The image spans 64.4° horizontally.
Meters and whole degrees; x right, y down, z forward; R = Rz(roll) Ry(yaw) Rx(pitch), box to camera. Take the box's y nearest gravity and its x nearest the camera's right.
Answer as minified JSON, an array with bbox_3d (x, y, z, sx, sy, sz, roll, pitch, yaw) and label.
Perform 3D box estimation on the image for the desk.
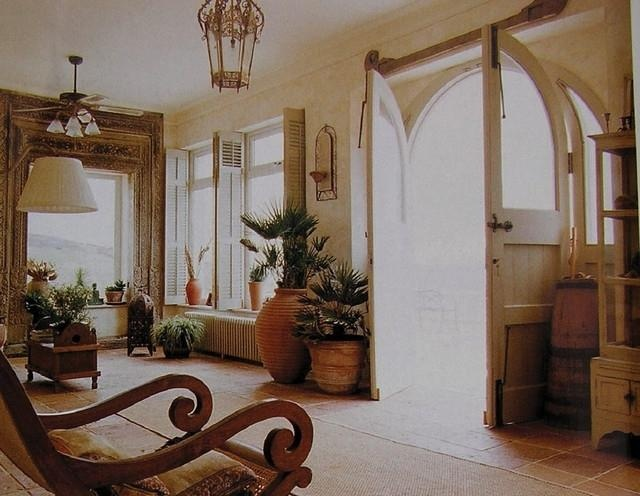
[{"bbox_3d":[-2.714,1.306,5.339,0.592,0.823,1.232,3,-6,-34],"label":"desk"}]

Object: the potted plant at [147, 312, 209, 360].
[{"bbox_3d":[-1.946,1.212,7.135,0.585,0.400,0.585,-2,-13,7],"label":"potted plant"}]

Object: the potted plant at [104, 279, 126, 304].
[{"bbox_3d":[-3.265,0.691,8.098,0.310,0.360,0.262,0,-1,-23],"label":"potted plant"}]

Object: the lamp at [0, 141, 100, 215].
[{"bbox_3d":[-2.546,-0.657,5.129,0.673,0.430,0.671,0,-6,-1],"label":"lamp"}]

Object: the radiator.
[{"bbox_3d":[-1.332,1.201,6.777,0.129,0.492,1.218,-17,-26,32],"label":"radiator"}]

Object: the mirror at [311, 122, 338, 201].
[{"bbox_3d":[0.028,-0.970,5.685,0.161,0.876,0.376,0,-1,-40],"label":"mirror"}]

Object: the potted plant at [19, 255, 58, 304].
[{"bbox_3d":[-4.114,0.421,7.507,0.408,0.535,0.971,0,-2,-28],"label":"potted plant"}]

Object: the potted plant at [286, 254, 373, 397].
[{"bbox_3d":[0.202,0.772,5.142,1.119,1.227,1.073,-1,-2,10],"label":"potted plant"}]

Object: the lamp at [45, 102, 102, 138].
[{"bbox_3d":[-3.224,-1.605,6.600,0.748,0.405,0.729,1,-1,-38],"label":"lamp"}]

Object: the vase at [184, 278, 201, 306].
[{"bbox_3d":[-1.964,0.670,7.903,0.240,0.420,0.241,0,-1,-13],"label":"vase"}]

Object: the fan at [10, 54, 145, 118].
[{"bbox_3d":[-2.965,-1.789,6.353,1.141,0.505,1.149,-6,-5,38],"label":"fan"}]
